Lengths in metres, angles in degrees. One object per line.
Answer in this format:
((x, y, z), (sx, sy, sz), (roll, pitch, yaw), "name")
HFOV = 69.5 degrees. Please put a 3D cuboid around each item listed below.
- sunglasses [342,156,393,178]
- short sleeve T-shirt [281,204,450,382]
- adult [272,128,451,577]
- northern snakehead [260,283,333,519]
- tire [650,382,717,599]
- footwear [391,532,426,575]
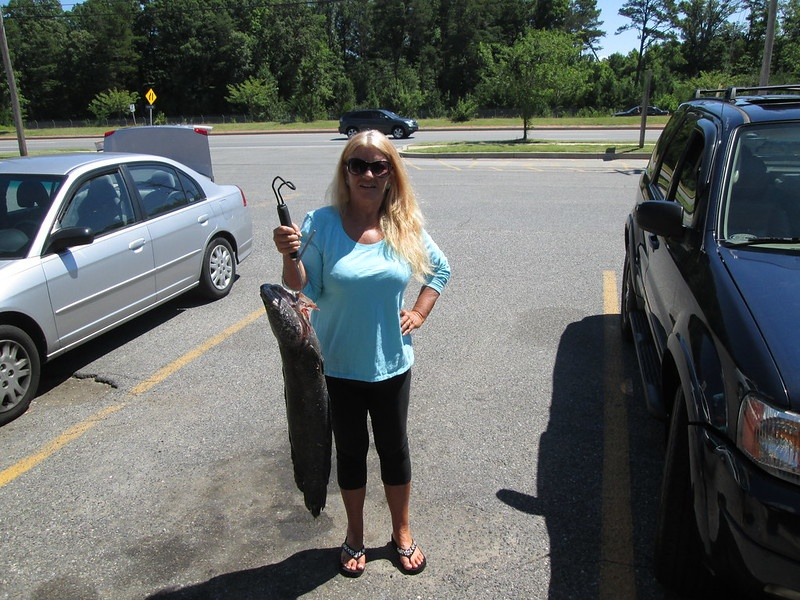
((-0.178, -0.703, 3.052), (0.237, 0.090, 0.112), (-1, 20, -5), "sunglasses")
((-0.128, -0.047, 3.198), (0.848, 0.968, 0.414), (-1, 3, -16), "short sleeve T-shirt")
((-0.229, 0.345, 3.161), (1.254, 2.452, 0.537), (-11, 14, -43), "adult")
((-0.460, 0.448, 2.957), (0.435, 1.345, 0.279), (-3, 16, 2), "northern snakehead")
((1.380, 0.971, 2.867), (0.144, 0.678, 0.700), (1, 54, 26), "tire")
((0.054, 1.492, 3.339), (0.101, 0.067, 0.260), (-21, 37, -18), "footwear")
